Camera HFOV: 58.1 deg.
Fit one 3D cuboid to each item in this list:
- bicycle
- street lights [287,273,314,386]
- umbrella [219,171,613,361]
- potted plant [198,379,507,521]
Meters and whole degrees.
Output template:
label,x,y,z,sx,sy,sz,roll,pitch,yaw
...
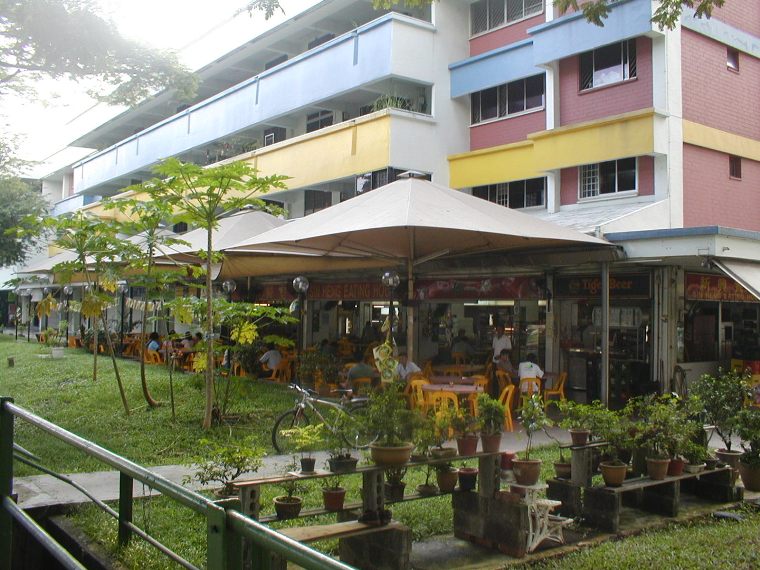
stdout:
label,x,y,z,sx,sy,sz,roll,pitch,yaw
bicycle,-0.445,2.025,10.476,2.087,1.290,1.022,5,-9,-18
street lights,-1.966,0.953,17.249,0.526,2.270,0.501,4,6,5
umbrella,1.054,-0.387,15.294,5.574,2.400,5.112,-1,-2,0
potted plant,-0.346,1.737,7.599,2.730,0.996,1.863,5,-9,-37
